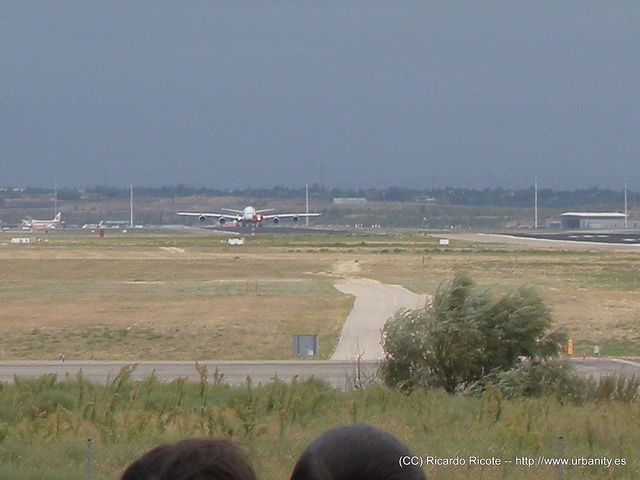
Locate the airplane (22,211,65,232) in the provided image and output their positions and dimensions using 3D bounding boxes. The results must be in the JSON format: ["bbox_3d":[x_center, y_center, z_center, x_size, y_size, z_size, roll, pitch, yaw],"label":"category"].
[{"bbox_3d":[-72.595,-4.884,338.807,7.391,3.494,7.658,0,4,-2],"label":"airplane"}]
